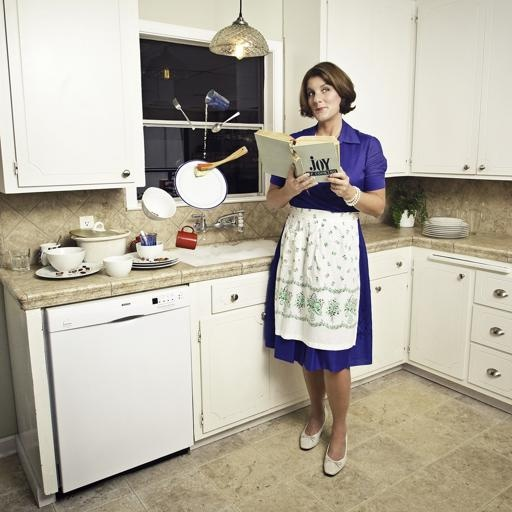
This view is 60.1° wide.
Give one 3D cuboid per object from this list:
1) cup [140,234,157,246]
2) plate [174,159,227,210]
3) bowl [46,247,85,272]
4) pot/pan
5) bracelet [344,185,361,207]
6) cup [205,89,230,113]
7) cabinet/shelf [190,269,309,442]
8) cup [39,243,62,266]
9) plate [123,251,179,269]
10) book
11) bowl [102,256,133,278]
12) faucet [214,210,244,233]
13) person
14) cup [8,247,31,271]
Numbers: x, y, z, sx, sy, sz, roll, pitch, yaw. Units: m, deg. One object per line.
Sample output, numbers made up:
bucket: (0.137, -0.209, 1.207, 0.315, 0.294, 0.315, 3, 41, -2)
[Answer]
cup: (-0.492, -0.074, 2.033, 0.066, 0.070, 0.044, -3, 16, -11)
plate: (-0.273, -0.366, 2.234, 0.113, 0.227, 0.301, 7, 13, 38)
bowl: (-0.789, 0.012, 1.871, 0.128, 0.078, 0.132, 0, 6, 0)
pot/pan: (-0.680, -0.057, 1.989, 0.205, 0.144, 0.184, 4, 7, 44)
bracelet: (0.401, -0.239, 1.808, 0.030, 0.080, 0.075, 13, -30, -18)
cup: (-0.201, -0.787, 2.237, 0.077, 0.077, 0.153, 4, 11, 25)
cabinet/shelf: (-0.020, 0.411, 2.393, 0.794, 0.941, 0.436, -10, 18, -26)
cup: (-0.944, -0.006, 1.987, 0.083, 0.122, 0.117, 6, 2, 38)
plate: (-0.477, 0.015, 2.043, 0.226, 0.058, 0.208, -4, 11, -15)
book: (0.157, -0.382, 1.695, 0.366, 0.199, 0.249, 5, 12, 28)
bowl: (-0.578, 0.045, 1.847, 0.102, 0.068, 0.103, 0, 0, 0)
faucet: (-0.157, -0.206, 2.583, 0.178, 0.115, 0.152, -2, 10, -5)
person: (0.263, 0.053, 2.033, 0.511, 1.789, 0.484, 9, 14, 44)
cup: (-1.045, 0.017, 1.949, 0.083, 0.088, 0.065, -5, 11, -23)
